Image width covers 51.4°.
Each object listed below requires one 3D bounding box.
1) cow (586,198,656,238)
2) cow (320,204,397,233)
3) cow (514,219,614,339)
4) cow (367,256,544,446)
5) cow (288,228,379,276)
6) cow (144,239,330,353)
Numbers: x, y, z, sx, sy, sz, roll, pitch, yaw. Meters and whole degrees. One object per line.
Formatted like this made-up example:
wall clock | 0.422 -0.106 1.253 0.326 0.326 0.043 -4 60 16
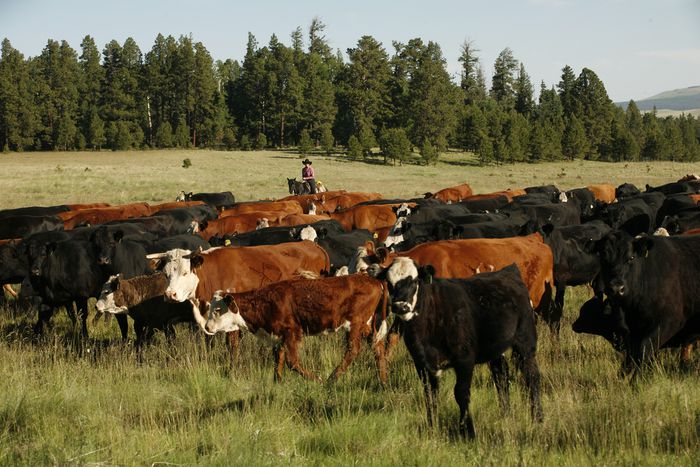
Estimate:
cow | 8.991 -0.550 23.346 0.959 1.571 2.750 -2 -5 42
cow | 0.301 -0.495 25.042 2.489 1.513 0.912 0 2 0
cow | 5.445 1.133 18.375 3.773 2.366 0.997 8 -3 -41
cow | 1.956 2.102 13.282 3.918 3.300 1.600 4 -4 -39
cow | -0.261 0.279 19.390 2.222 0.809 1.290 0 -39 -10
cow | -2.230 1.639 16.393 4.411 2.607 1.276 1 3 -44
